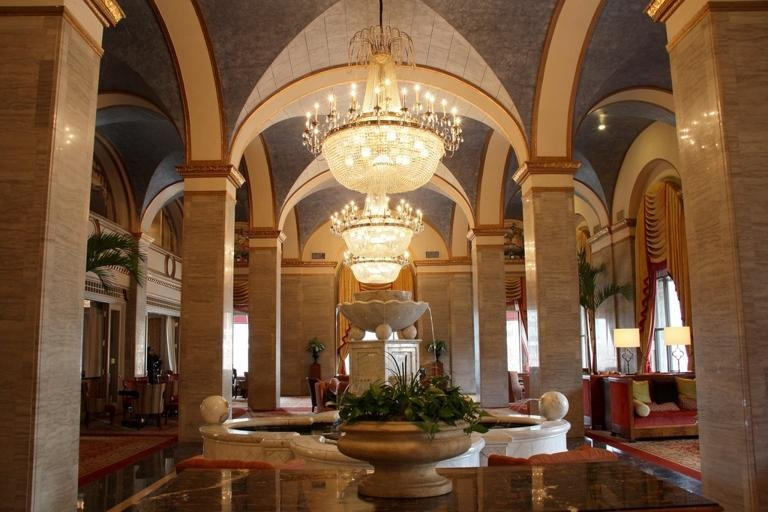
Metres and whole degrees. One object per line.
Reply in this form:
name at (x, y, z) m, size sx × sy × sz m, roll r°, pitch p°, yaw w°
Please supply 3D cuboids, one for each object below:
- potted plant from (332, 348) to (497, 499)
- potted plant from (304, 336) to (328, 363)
potted plant at (0.224, 1.198, 4.236) m, size 0.904 × 0.668 × 0.902 m, roll -7°, pitch -12°, yaw 39°
potted plant at (-2.302, 3.098, 19.540) m, size 0.841 × 0.945 × 0.787 m, roll 1°, pitch -14°, yaw -2°
